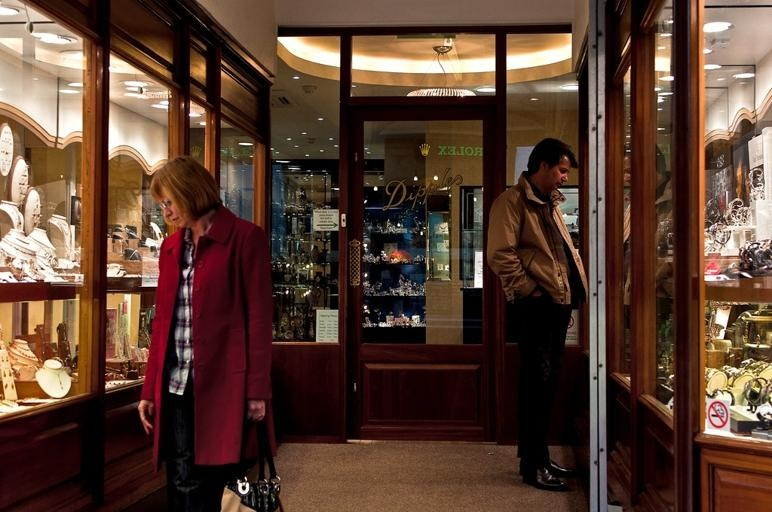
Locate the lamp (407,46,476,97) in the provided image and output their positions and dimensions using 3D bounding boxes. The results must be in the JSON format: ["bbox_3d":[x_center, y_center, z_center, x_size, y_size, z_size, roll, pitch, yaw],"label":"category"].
[{"bbox_3d":[0.495,-1.699,5.978,0.648,0.519,0.682,2,5,5],"label":"lamp"}]

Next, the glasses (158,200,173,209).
[{"bbox_3d":[-1.086,-0.261,3.178,0.059,0.017,0.058,-1,11,0],"label":"glasses"}]

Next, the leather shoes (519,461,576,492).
[{"bbox_3d":[1.165,1.608,4.693,0.260,0.100,0.203,-1,1,8],"label":"leather shoes"}]
